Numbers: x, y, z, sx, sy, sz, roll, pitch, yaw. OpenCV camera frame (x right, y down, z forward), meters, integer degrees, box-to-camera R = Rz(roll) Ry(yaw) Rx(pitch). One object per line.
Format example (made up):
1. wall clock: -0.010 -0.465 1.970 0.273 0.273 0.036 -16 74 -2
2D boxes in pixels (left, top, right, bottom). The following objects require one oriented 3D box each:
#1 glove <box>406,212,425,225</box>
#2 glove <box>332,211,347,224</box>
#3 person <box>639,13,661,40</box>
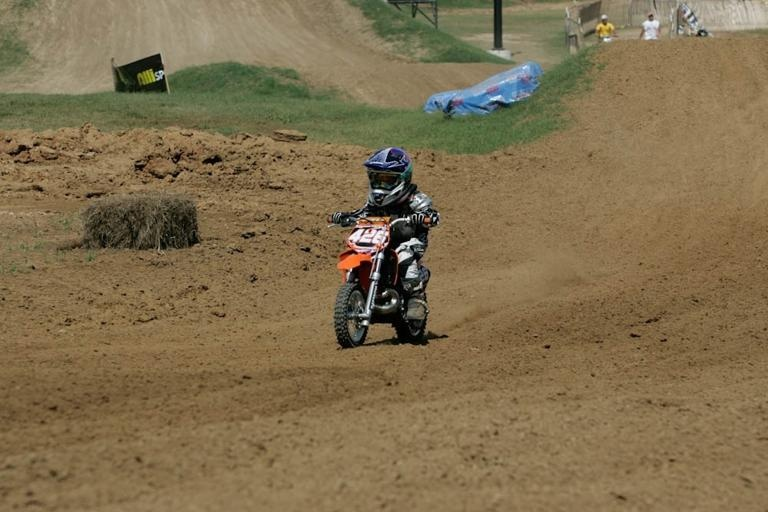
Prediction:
1. glove: 0.658 -0.799 23.929 0.384 0.227 0.240 1 16 4
2. glove: -0.964 -0.834 24.512 0.219 0.284 0.260 12 -10 -37
3. person: 9.499 -8.294 40.428 0.493 0.942 2.234 3 16 10
